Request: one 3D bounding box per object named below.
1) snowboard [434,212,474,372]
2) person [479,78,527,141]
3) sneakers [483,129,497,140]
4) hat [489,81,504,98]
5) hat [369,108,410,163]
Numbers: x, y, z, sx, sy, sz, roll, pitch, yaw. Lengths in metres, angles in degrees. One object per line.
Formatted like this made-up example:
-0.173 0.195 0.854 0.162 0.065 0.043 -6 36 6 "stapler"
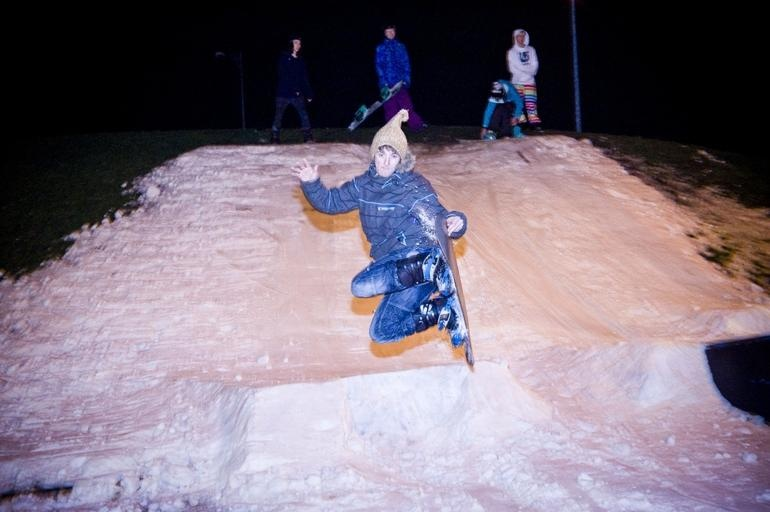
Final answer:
0.637 0.332 4.146 0.295 1.395 0.174 -3 11 41 "snowboard"
2.243 -2.747 8.954 0.861 1.063 0.570 -1 18 -3 "person"
1.943 -2.276 8.925 0.249 0.186 0.408 8 18 24 "sneakers"
2.090 -3.120 8.954 0.248 0.289 0.311 5 15 3 "hat"
0.083 -1.127 4.224 0.293 0.256 0.204 -1 -7 42 "hat"
